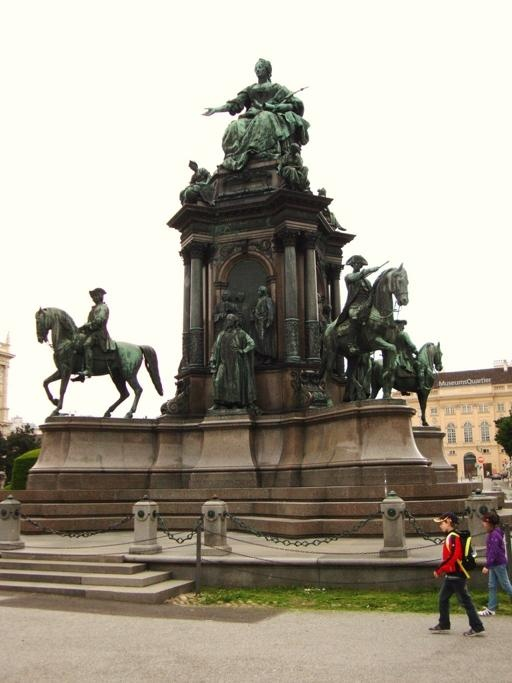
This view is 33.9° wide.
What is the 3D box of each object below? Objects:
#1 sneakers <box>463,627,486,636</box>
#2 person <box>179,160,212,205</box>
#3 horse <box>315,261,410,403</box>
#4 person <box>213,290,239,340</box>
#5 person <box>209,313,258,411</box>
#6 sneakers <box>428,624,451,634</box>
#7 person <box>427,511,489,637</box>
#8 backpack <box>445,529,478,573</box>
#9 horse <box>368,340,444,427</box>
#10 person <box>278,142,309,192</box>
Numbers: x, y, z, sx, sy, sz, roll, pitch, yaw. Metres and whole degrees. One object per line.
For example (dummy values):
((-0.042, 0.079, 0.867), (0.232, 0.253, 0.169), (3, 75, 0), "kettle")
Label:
((2.555, 3.429, 9.874), (0.254, 0.073, 0.231), (-2, -12, 10), "sneakers")
((-1.825, -4.849, 25.855), (0.948, 1.462, 0.798), (-5, -11, 12), "person")
((2.633, -0.412, 20.930), (1.539, 3.770, 3.289), (1, -12, -5), "horse")
((-0.883, -0.770, 24.282), (0.765, 0.436, 1.594), (-5, -48, -10), "person")
((-0.638, 0.552, 22.936), (1.202, 2.565, 0.544), (0, -12, -2), "person")
((2.180, 3.445, 10.057), (0.226, 0.104, 0.091), (-1, -22, 23), "sneakers")
((2.442, 2.841, 10.349), (0.628, 1.399, 1.003), (-3, -12, 14), "person")
((2.515, 2.524, 10.135), (0.295, 0.453, 0.320), (-8, -1, -13), "backpack")
((4.749, 1.211, 26.591), (3.310, 2.489, 0.810), (3, -6, -35), "horse")
((1.138, -5.174, 25.010), (0.740, 1.672, 0.903), (13, -11, -32), "person")
